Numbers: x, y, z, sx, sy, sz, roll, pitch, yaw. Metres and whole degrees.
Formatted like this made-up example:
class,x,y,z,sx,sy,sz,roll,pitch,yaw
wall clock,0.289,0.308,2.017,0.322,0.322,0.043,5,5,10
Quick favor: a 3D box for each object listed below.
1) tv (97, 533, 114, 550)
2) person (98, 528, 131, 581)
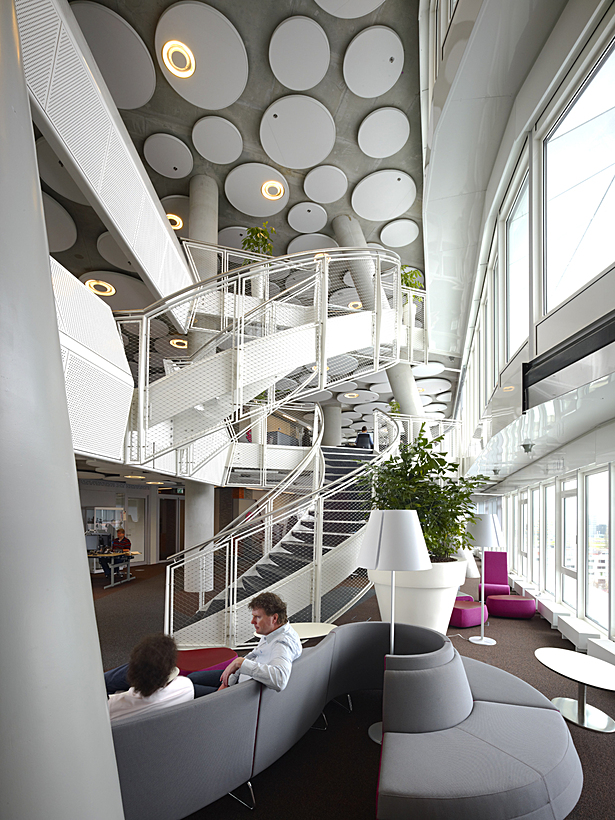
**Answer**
class,x,y,z,sx,sy,sz,roll,pitch,yaw
tv,-4.148,2.718,12.815,0.321,0.449,0.292,1,-3,-38
person,-3.921,3.011,12.746,0.649,0.878,0.954,-1,-4,-45
